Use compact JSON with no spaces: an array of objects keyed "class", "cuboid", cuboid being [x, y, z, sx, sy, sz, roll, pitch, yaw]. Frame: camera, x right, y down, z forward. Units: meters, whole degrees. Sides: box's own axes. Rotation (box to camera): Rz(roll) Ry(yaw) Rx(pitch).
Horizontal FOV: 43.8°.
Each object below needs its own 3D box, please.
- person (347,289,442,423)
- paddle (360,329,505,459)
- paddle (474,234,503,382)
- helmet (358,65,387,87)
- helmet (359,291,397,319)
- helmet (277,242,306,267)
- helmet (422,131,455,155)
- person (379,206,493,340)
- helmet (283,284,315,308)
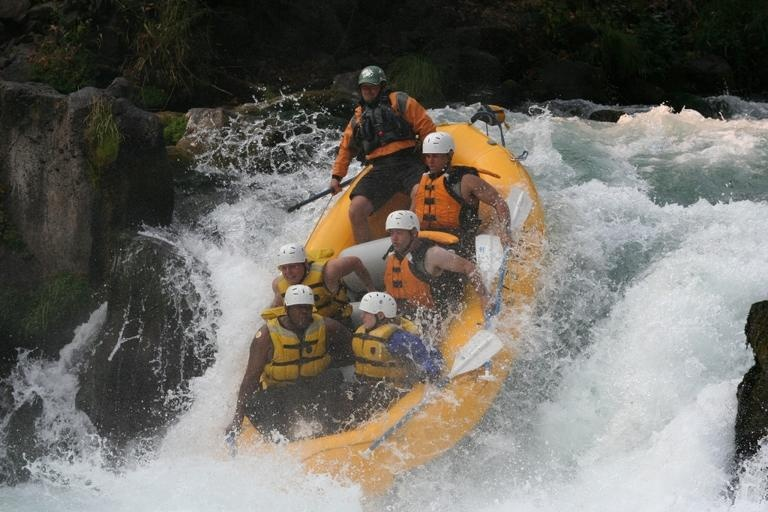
[{"class":"person","cuboid":[0.137,1.185,10.765,0.712,1.026,1.679,12,73,-29]},{"class":"paddle","cuboid":[0.498,1.593,10.656,0.389,0.103,1.887,44,81,9]},{"class":"paddle","cuboid":[1.253,0.522,11.144,0.305,0.169,1.529,-6,65,33]},{"class":"helmet","cuboid":[-0.118,-2.357,12.267,0.308,0.427,0.232,-6,90,24]},{"class":"helmet","cuboid":[-0.057,0.547,10.752,0.353,0.264,0.229,-3,98,-14]},{"class":"helmet","cuboid":[-1.077,-0.013,11.248,0.221,0.299,0.240,-9,76,3]},{"class":"helmet","cuboid":[0.649,-1.365,11.571,0.243,0.324,0.199,0,93,33]},{"class":"person","cuboid":[0.608,0.249,11.160,0.633,1.081,1.832,-29,101,-41]},{"class":"helmet","cuboid":[-0.963,0.450,10.794,0.203,0.222,0.312,1,100,-11]}]
